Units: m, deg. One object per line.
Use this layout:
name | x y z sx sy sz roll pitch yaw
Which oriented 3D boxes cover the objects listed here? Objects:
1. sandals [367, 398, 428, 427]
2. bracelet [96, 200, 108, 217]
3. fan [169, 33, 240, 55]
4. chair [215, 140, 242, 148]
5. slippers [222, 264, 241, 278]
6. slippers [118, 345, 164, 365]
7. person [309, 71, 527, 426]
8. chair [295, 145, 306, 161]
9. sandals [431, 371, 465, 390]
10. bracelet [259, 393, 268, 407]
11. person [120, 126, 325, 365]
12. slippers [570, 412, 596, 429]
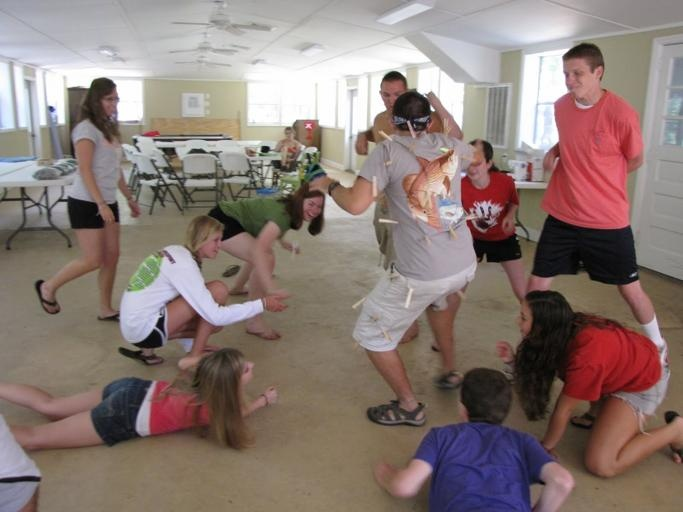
sandals | 0.324 0.892 2.896 0.319 0.116 0.140 3 6 5
bracelet | -1.790 -0.362 3.767 0.076 0.100 0.037 8 5 25
fan | -2.488 -4.009 9.610 0.902 0.225 0.809 3 11 32
chair | -2.511 -2.495 11.187 0.362 0.152 0.466 -3 11 -13
slippers | -1.116 0.147 5.168 0.097 0.062 0.240 3 15 19
slippers | -1.365 0.683 3.433 0.276 0.108 0.078 17 25 -7
person | 0.423 0.027 2.852 0.896 1.837 0.592 -18 24 -41
chair | -0.830 -2.148 10.347 0.157 0.390 0.301 9 1 -26
sandals | 0.690 0.799 3.213 0.181 0.094 0.064 -7 -18 18
bracelet | -0.441 0.825 2.887 0.064 0.069 0.038 7 -4 -24
person | -0.643 0.048 3.710 1.027 1.182 1.177 3 18 12
slippers | 1.398 0.951 2.903 0.151 0.054 0.075 1 24 9
